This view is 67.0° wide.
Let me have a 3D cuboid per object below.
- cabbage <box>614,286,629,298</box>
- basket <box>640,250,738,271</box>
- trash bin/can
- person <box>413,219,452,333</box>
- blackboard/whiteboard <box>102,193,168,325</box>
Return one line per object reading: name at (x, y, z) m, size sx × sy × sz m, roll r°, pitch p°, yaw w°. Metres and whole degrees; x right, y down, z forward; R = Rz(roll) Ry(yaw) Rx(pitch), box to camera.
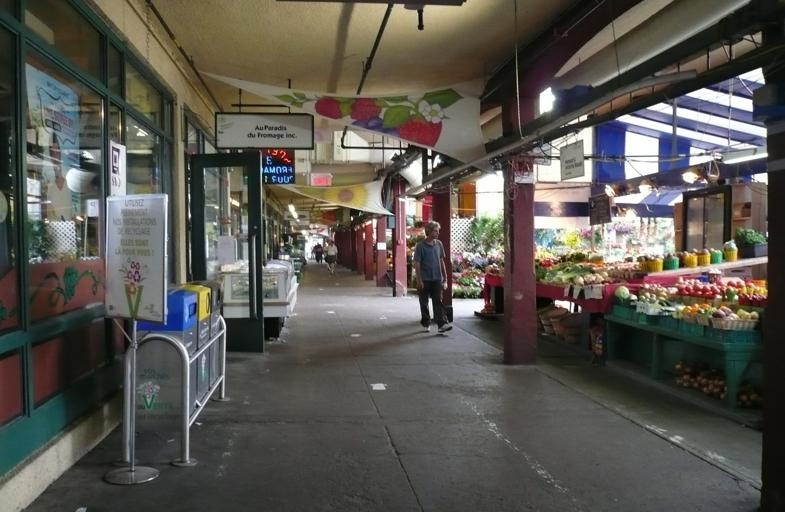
cabbage at (3.206, 0.508, 8.267) m, size 0.187 × 0.157 × 0.235 m, roll 0°, pitch 8°, yaw 7°
basket at (4.387, 0.058, 8.978) m, size 1.289 × 0.314 × 0.402 m, roll 0°, pitch 8°, yaw 0°
trash bin/can at (-2.201, 0.939, 6.055) m, size 0.595 × 1.216 × 0.834 m, roll 0°, pitch 1°, yaw -5°
person at (0.637, 0.370, 11.011) m, size 0.695 × 1.846 × 0.887 m, roll 0°, pitch 0°, yaw -19°
blackboard/whiteboard at (-2.332, 0.006, 5.402) m, size 0.737 × 1.127 × 0.201 m, roll 3°, pitch 9°, yaw 27°
